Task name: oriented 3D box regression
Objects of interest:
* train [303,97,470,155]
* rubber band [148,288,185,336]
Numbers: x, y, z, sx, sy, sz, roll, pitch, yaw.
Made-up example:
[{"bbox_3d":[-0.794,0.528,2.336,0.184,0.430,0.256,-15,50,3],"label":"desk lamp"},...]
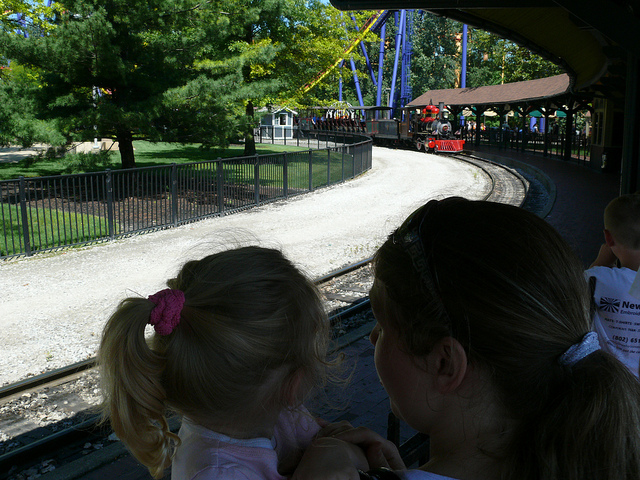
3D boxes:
[{"bbox_3d":[4.377,-9.659,44.864,2.947,3.578,17.464,-9,18,-31],"label":"train"},{"bbox_3d":[-0.483,0.220,1.676,0.098,0.147,0.047,6,-7,3],"label":"rubber band"}]
